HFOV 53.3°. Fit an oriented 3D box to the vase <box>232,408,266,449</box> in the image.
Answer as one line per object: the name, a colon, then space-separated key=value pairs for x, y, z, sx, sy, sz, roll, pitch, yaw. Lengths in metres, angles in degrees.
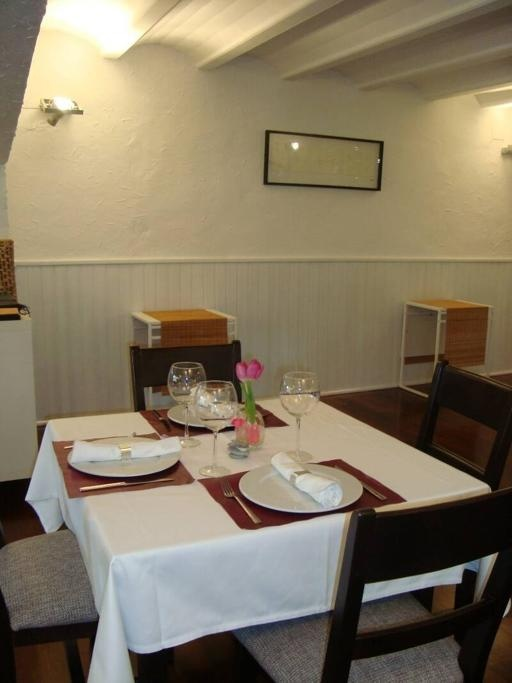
vase: x=-0.013 y=0.217 z=1.265 sx=0.076 sy=0.107 sz=0.085 roll=1 pitch=1 yaw=-3

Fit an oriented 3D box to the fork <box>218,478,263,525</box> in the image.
fork: x=-0.020 y=0.288 z=0.946 sx=0.025 sy=0.023 sz=0.155 roll=-7 pitch=21 yaw=-14

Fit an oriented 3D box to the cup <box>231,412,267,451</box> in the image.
cup: x=-0.014 y=0.215 z=1.248 sx=0.084 sy=0.083 sz=0.084 roll=1 pitch=-1 yaw=0

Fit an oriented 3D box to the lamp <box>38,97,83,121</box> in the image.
lamp: x=-1.229 y=-1.481 z=3.223 sx=0.206 sy=0.049 sz=0.202 roll=-7 pitch=34 yaw=-22
